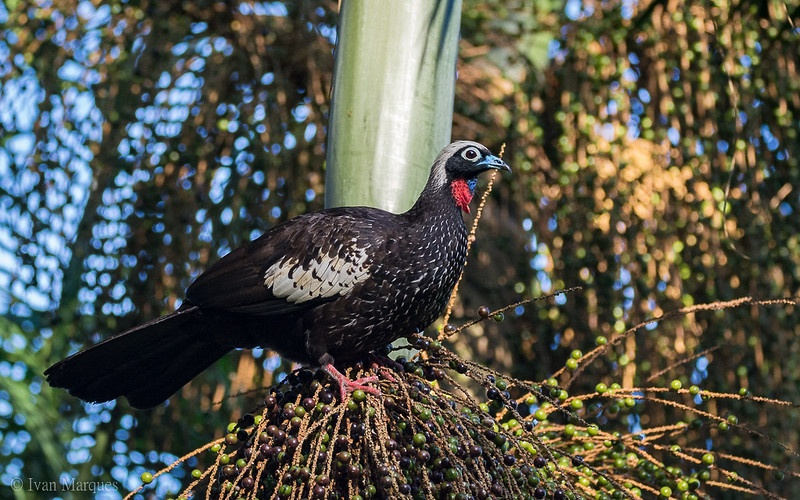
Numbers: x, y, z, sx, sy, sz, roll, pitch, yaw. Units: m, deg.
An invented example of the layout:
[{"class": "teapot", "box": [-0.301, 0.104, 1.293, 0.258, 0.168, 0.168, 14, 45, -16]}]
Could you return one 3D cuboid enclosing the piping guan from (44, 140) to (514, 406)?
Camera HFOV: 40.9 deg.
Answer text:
[{"class": "piping guan", "box": [-0.699, 0.131, 6.559, 2.511, 1.669, 0.917, 1, -5, 7]}]
